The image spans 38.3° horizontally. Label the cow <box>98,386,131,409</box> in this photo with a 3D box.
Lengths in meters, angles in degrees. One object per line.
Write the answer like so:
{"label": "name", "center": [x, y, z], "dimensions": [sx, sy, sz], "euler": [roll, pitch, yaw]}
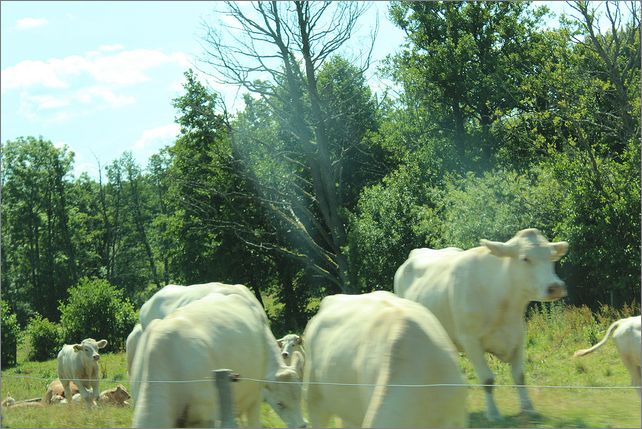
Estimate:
{"label": "cow", "center": [-11.308, 9.856, 50.014], "dimensions": [1.703, 1.134, 2.345], "euler": [-5, -11, -15]}

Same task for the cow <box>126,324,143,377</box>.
{"label": "cow", "center": [-9.857, 7.247, 48.865], "dimensions": [0.838, 1.779, 3.503], "euler": [1, -47, -13]}
